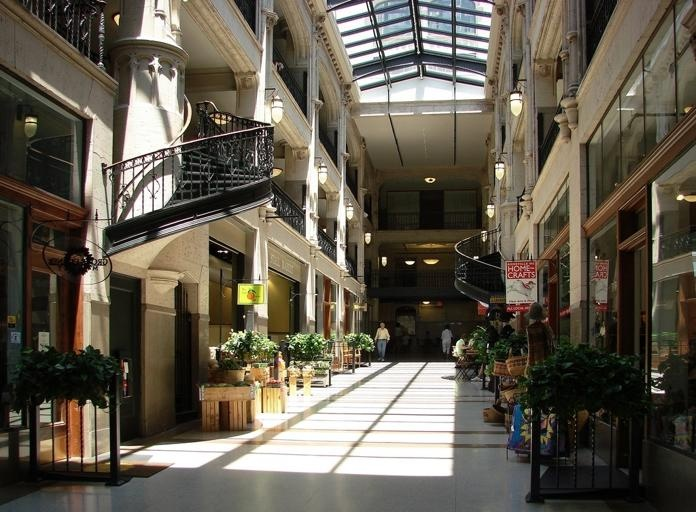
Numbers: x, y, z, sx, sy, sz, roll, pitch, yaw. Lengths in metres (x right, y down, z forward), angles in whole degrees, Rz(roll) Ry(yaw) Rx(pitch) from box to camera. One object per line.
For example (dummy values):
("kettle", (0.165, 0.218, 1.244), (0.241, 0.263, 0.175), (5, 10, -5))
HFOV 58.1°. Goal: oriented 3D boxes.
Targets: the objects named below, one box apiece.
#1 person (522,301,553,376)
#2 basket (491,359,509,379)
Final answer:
("person", (2.341, 0.990, 7.777), (0.336, 0.289, 0.872), (-4, -46, 17))
("basket", (2.362, 1.718, 9.694), (0.350, 0.333, 0.366), (-6, -6, 29))
